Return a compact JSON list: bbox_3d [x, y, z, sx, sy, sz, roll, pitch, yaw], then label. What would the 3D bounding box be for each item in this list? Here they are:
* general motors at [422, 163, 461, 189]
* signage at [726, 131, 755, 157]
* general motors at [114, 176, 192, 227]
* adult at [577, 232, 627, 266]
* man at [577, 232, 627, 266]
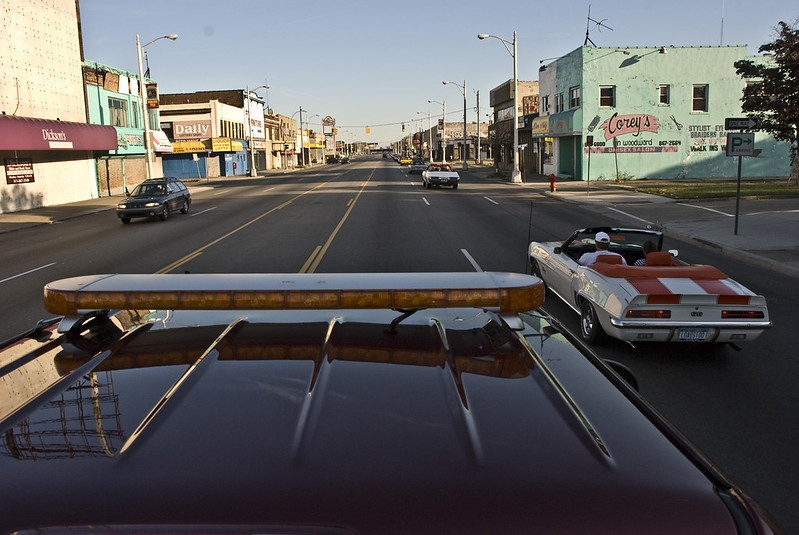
[{"bbox_3d":[3.224,-7.210,44.186,2.431,1.686,4.352,-2,12,-1],"label":"general motors"},{"bbox_3d":[10.715,-3.826,17.391,0.750,0.760,0.848,4,13,25],"label":"signage"},{"bbox_3d":[-12.054,-3.326,27.393,1.861,1.921,3.793,-1,12,3],"label":"general motors"},{"bbox_3d":[3.566,-0.301,9.711,0.723,0.340,1.108,0,25,20],"label":"adult"},{"bbox_3d":[3.566,-0.301,9.711,0.723,0.340,1.108,0,25,20],"label":"man"}]
